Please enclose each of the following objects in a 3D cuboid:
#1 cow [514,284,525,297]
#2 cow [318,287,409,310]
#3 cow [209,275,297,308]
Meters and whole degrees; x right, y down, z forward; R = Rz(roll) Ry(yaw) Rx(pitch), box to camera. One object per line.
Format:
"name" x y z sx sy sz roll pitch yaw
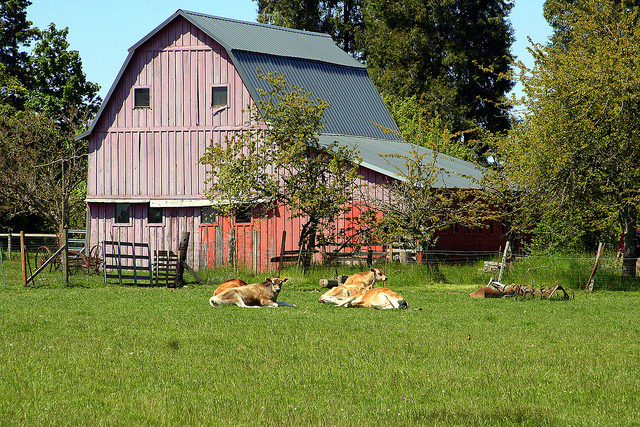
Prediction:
"cow" 7.875 3.051 43.532 0.390 0.567 1.234 0 -13 9
"cow" 1.773 3.181 41.106 3.054 0.834 0.504 0 -12 12
"cow" -2.485 3.051 41.119 2.995 1.190 1.055 0 -15 -22
